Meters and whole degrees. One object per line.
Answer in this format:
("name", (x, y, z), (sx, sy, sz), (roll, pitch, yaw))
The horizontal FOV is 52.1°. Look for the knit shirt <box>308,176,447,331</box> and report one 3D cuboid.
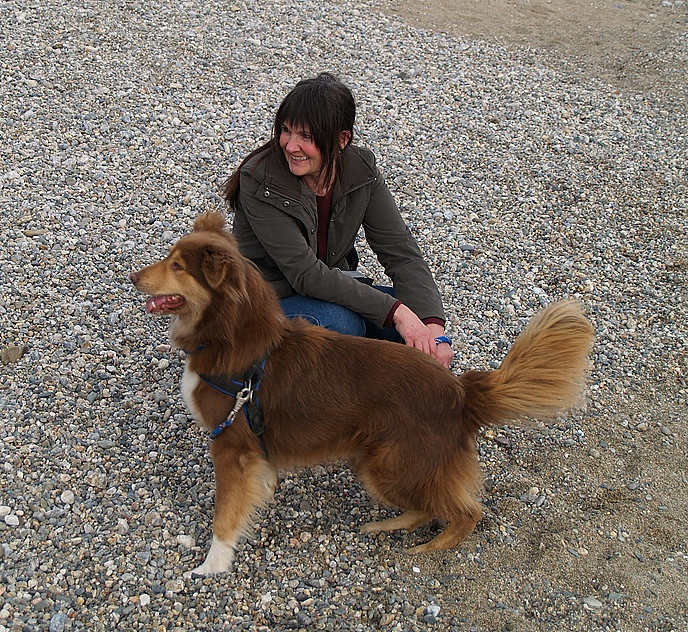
("knit shirt", (0.210, -0.380, 4.456), (0.836, 0.980, 0.279), (-10, 13, 7))
